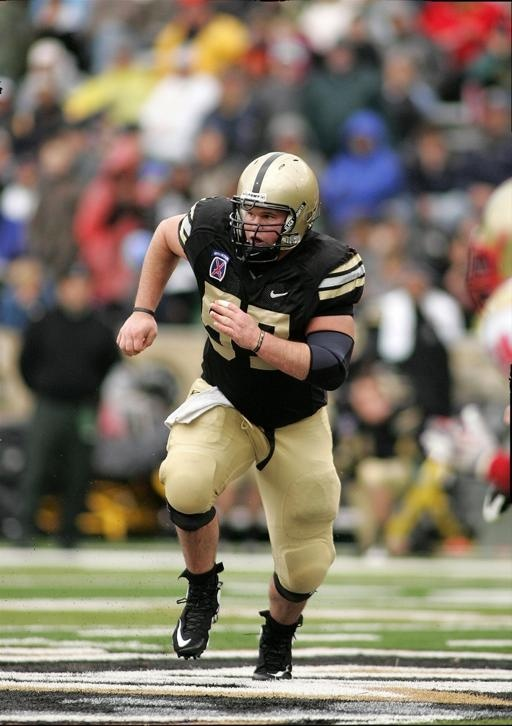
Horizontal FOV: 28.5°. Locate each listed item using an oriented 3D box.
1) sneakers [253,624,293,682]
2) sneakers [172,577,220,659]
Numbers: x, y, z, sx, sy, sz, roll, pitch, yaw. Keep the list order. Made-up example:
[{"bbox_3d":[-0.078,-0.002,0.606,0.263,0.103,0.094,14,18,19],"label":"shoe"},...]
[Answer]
[{"bbox_3d":[0.061,0.916,3.195,0.089,0.142,0.237,6,9,5],"label":"sneakers"},{"bbox_3d":[-0.181,0.779,3.080,0.135,0.150,0.267,10,65,-3],"label":"sneakers"}]
